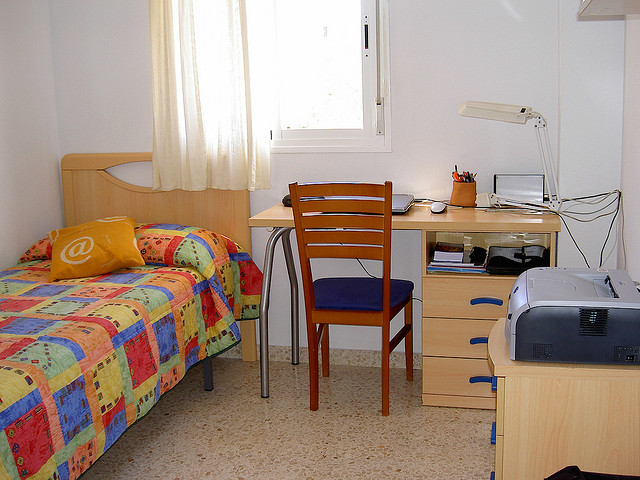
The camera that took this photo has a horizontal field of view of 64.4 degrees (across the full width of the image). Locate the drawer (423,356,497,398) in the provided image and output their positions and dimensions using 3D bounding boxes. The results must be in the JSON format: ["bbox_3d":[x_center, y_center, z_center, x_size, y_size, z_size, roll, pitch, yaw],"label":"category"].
[{"bbox_3d":[0.635,0.707,2.562,0.389,0.246,0.224,8,-17,-18],"label":"drawer"}]

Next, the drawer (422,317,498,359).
[{"bbox_3d":[0.644,0.439,2.319,0.253,0.136,0.200,1,4,15],"label":"drawer"}]

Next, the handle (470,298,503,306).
[{"bbox_3d":[0.775,0.289,2.379,0.142,0.036,0.025,4,13,18],"label":"handle"}]

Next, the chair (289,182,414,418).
[{"bbox_3d":[0.201,0.246,2.619,0.564,1.145,0.578,3,12,14],"label":"chair"}]

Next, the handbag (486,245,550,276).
[{"bbox_3d":[0.927,0.086,2.400,0.268,0.137,0.168,4,13,21],"label":"handbag"}]

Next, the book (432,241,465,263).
[{"bbox_3d":[0.636,0.059,2.522,0.143,0.065,0.196,4,13,19],"label":"book"}]

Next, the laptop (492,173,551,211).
[{"bbox_3d":[1.022,-0.254,2.619,0.262,0.158,0.270,4,13,18],"label":"laptop"}]

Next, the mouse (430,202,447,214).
[{"bbox_3d":[0.583,-0.158,2.502,0.078,0.050,0.069,0,12,1],"label":"mouse"}]
